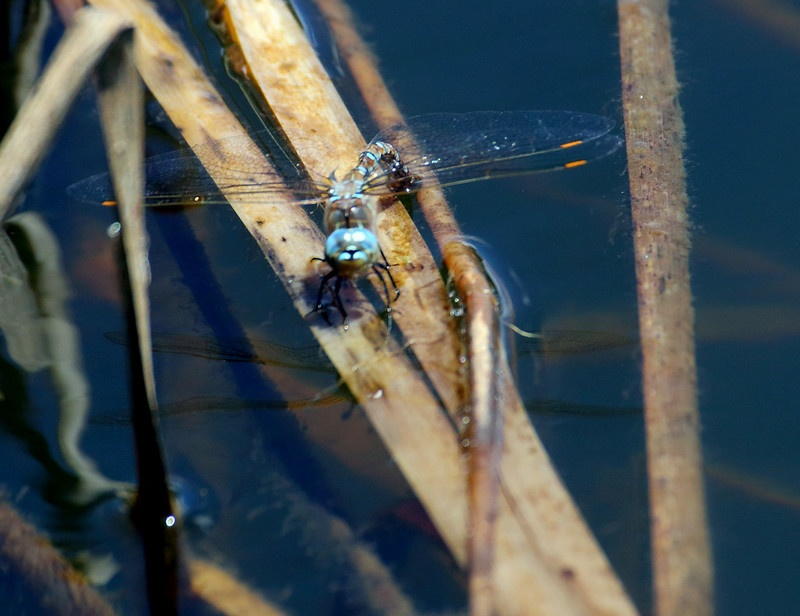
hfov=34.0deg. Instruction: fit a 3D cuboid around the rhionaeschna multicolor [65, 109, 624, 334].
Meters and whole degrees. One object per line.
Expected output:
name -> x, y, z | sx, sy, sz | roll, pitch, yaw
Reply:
rhionaeschna multicolor -> 0.010, -0.474, 7.505 | 1.439, 1.417, 1.375 | -10, -89, 38
